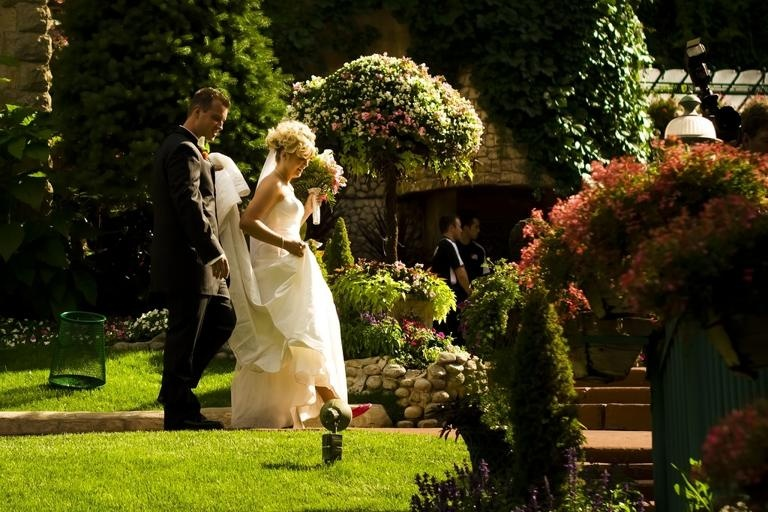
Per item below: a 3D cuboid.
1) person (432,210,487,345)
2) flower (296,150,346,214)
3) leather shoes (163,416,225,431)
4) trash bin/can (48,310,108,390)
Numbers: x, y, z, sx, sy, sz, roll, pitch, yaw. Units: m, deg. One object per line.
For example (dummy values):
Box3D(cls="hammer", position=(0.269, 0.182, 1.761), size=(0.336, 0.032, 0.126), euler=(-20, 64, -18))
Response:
Box3D(cls="person", position=(0.884, 0.261, 12.037), size=(0.636, 1.480, 1.140), euler=(0, 8, 5))
Box3D(cls="flower", position=(-0.520, -0.719, 9.857), size=(0.488, 0.504, 0.500), euler=(15, -1, 15))
Box3D(cls="leather shoes", position=(-1.609, 1.390, 8.640), size=(0.511, 0.187, 0.169), euler=(0, -4, -13))
Box3D(cls="trash bin/can", position=(-3.086, 0.954, 10.327), size=(0.743, 0.751, 0.691), euler=(3, 1, -18))
